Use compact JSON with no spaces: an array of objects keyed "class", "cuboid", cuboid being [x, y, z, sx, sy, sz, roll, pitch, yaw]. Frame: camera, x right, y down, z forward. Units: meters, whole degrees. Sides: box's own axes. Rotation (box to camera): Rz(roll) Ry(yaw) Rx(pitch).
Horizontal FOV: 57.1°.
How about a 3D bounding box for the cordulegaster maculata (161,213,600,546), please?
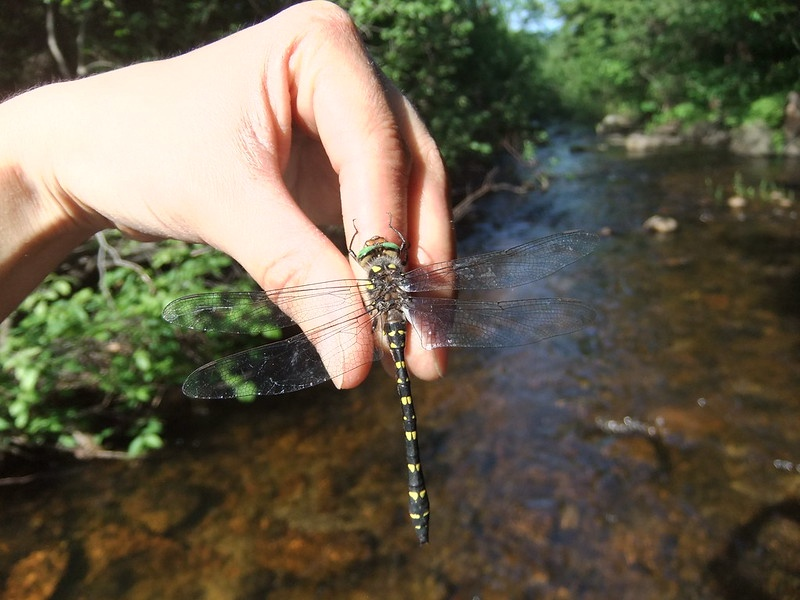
[{"class":"cordulegaster maculata","cuboid":[0.049,0.430,4.874,2.665,2.141,0.367,-12,3,-2]}]
